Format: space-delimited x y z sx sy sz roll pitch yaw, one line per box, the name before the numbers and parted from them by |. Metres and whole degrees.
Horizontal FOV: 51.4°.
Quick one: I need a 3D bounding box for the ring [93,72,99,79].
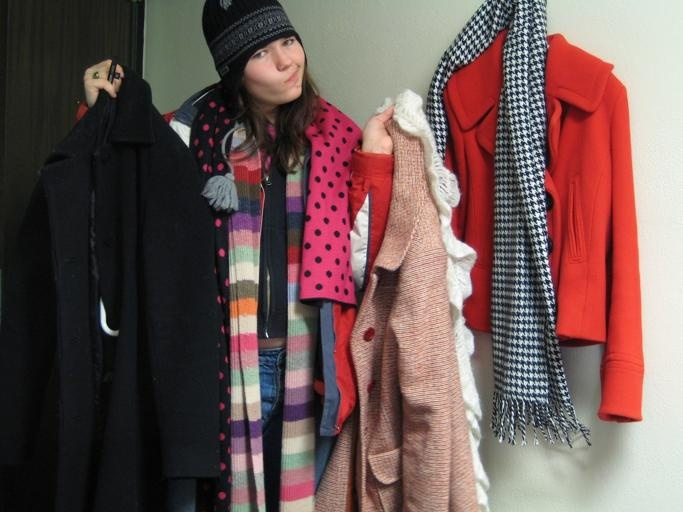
ring | -0.598 -0.442 1.723 0.015 0.019 0.009 1 -5 0
